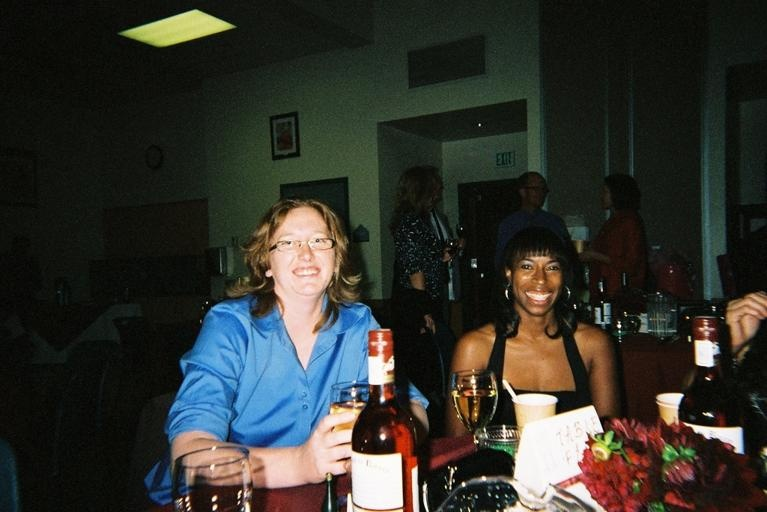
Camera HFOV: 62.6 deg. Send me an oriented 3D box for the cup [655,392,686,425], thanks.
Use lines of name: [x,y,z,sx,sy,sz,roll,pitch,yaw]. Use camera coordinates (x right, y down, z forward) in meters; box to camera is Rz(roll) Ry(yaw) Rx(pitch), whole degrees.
cup: [1.455,0.761,3.212,0.154,0.117,0.145,1,-1,0]

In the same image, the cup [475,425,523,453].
cup: [0.603,0.938,3.288,0.147,0.103,0.147,-1,-5,0]

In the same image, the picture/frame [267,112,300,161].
picture/frame: [-1.289,-1.581,8.279,0.653,0.747,0.052,-2,1,24]

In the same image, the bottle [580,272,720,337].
bottle: [1.980,0.425,4.827,0.294,0.329,0.824,-1,0,-29]
